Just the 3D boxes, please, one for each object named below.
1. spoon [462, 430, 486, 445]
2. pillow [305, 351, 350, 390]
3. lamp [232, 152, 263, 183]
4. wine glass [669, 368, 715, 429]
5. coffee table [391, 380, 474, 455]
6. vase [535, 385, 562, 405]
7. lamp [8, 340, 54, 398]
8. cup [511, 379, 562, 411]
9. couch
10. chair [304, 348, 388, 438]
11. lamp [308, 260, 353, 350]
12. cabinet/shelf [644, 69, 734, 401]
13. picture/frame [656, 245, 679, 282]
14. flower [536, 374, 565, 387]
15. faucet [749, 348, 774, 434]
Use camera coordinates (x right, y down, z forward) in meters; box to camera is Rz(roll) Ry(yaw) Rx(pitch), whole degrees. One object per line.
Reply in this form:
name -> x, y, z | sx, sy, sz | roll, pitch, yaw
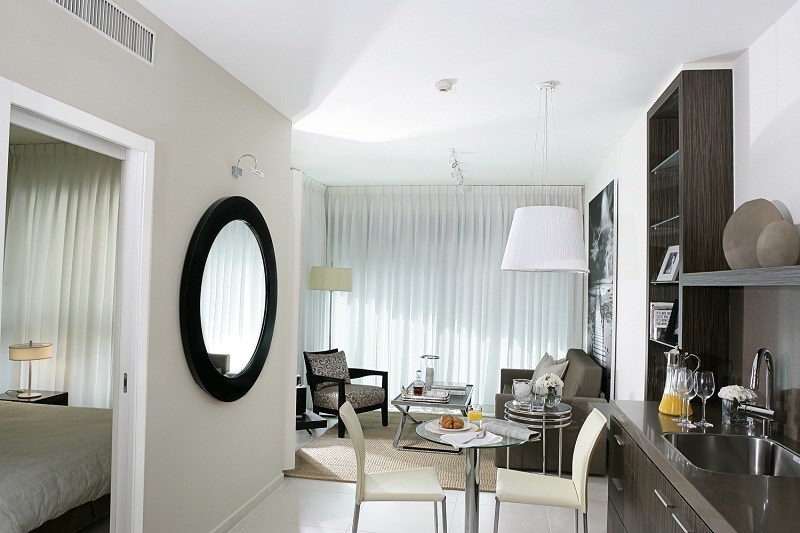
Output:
spoon -> 0.504, 1.143, 3.463 | 0.125, 0.042, 0.283 | -2, -5, 20
pillow -> -0.866, 1.217, 6.248 | 0.432, 0.423, 0.128 | 1, -26, -45
lamp -> -1.191, -0.776, 4.004 | 0.186, 0.192, 0.249 | -2, 9, -17
wine glass -> 1.828, 0.806, 3.215 | 0.206, 0.337, 0.297 | -2, -5, 22
coffee table -> 0.340, 1.495, 5.468 | 0.653, 0.468, 1.077 | 2, -5, 12
vase -> 1.247, 1.065, 4.339 | 0.161, 0.135, 0.179 | 4, -8, -34
lamp -> -2.881, 0.810, 4.019 | 0.264, 0.486, 0.608 | 3, -5, -37
cup -> 1.150, 1.063, 4.342 | 0.361, 0.185, 0.242 | -2, -2, 7
couch -> 1.544, 1.492, 5.159 | 0.832, 0.917, 1.621 | 1, -3, 8
chair -> -0.703, 1.406, 6.264 | 0.913, 1.067, 0.956 | -6, -8, 40
lamp -> -0.945, 0.539, 6.844 | 0.532, 1.107, 0.833 | 0, -4, -11
cabinet/shelf -> 2.123, -0.171, 3.852 | 0.378, 2.375, 0.714 | 0, -4, 1
picture/frame -> 2.098, -0.029, 4.041 | 0.024, 0.346, 0.252 | 18, -9, -6
flower -> 1.249, 0.963, 4.361 | 0.212, 0.116, 0.172 | -1, -5, 12
faucet -> 2.187, 0.731, 3.113 | 0.114, 0.473, 0.321 | -3, -5, 36
